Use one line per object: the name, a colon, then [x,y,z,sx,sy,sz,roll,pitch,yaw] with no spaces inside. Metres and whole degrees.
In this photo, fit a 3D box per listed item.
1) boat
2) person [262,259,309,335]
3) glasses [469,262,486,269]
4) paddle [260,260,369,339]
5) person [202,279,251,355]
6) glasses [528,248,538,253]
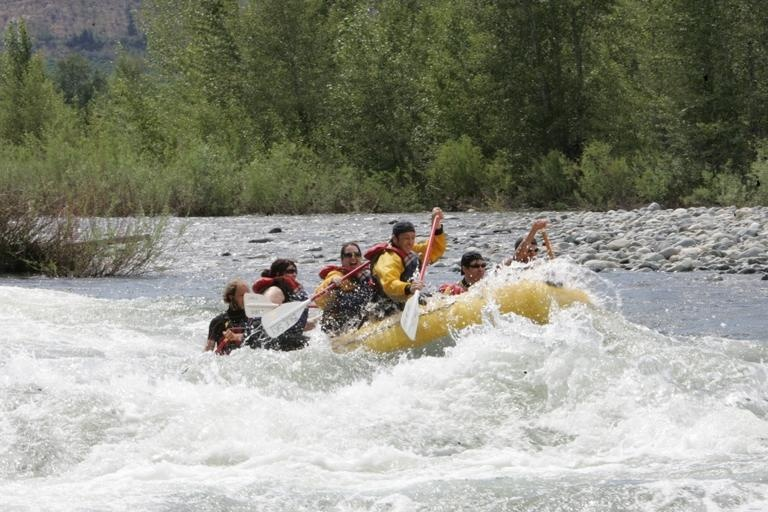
boat: [1.581,1.254,25.162,4.230,0.704,2.092,-19,-15,4]
person: [-2.115,0.873,25.762,0.774,0.275,2.517,6,22,-5]
glasses: [2.036,0.153,25.907,0.341,0.114,0.117,-2,3,-31]
paddle: [-1.456,0.938,25.799,1.869,0.394,0.087,-32,-7,-12]
person: [-3.274,1.198,25.296,0.894,1.504,0.453,-1,4,-8]
glasses: [3.334,-0.179,26.764,0.197,0.190,0.050,1,44,2]
